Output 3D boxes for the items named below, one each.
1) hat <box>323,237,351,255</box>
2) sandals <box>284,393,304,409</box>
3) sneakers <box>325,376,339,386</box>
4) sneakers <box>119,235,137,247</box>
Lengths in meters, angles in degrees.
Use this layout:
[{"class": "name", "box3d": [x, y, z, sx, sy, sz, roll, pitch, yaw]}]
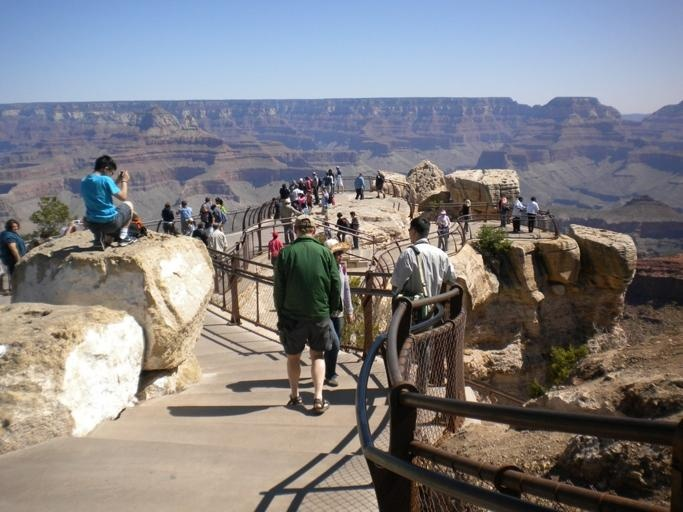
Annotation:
[{"class": "hat", "box3d": [-0.069, -0.138, 5.594, 0.201, 0.092, 0.234, -15, -11, -2]}, {"class": "sandals", "box3d": [-0.457, 1.458, 4.983, 0.082, 0.091, 0.246, 0, 6, 6]}, {"class": "sneakers", "box3d": [-0.104, 1.360, 5.354, 0.169, 0.082, 0.065, -5, -3, 33]}, {"class": "sneakers", "box3d": [-2.433, -0.183, 5.587, 0.075, 0.093, 0.215, 24, 26, 28]}]
